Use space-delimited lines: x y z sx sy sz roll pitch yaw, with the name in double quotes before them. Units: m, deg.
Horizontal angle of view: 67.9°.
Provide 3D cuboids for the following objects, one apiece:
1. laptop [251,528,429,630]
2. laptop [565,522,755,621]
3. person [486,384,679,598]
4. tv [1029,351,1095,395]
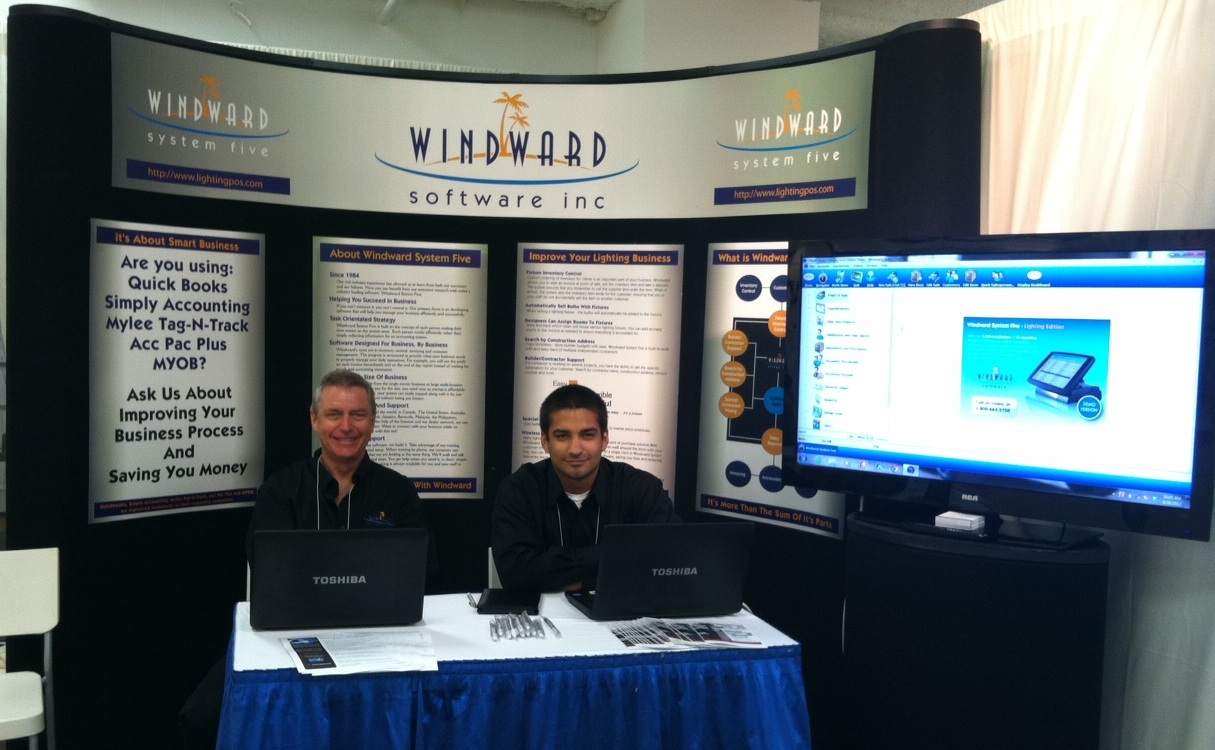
"laptop" -1.037 0.788 3.469 0.627 0.375 0.427 1 2 -8
"laptop" 0.237 0.685 3.529 0.538 0.308 0.452 1 -6 -7
"person" -0.135 0.527 4.326 0.958 0.869 0.551 -2 -5 -16
"tv" 1.849 -0.043 3.678 0.170 0.179 0.208 -15 13 -42
